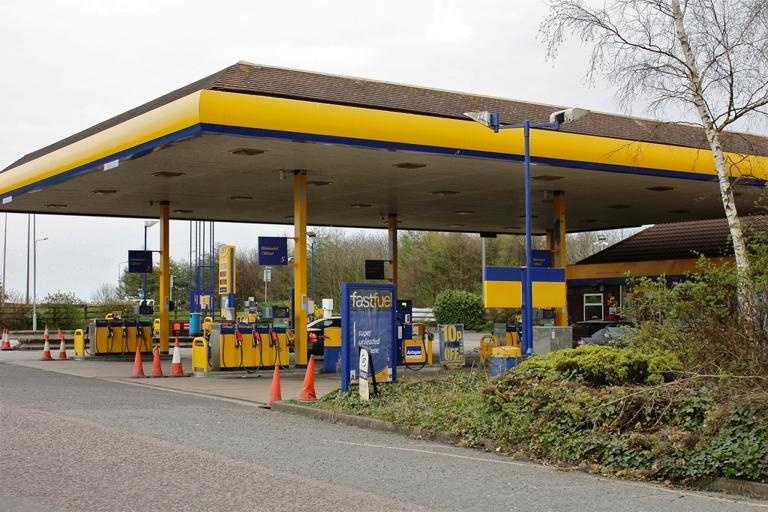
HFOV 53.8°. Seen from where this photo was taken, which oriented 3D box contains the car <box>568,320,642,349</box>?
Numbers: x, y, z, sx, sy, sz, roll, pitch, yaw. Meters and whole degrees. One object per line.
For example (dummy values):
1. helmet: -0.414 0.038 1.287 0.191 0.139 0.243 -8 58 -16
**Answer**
1. car: 6.255 2.229 21.530 2.733 0.906 1.246 -3 2 -40
